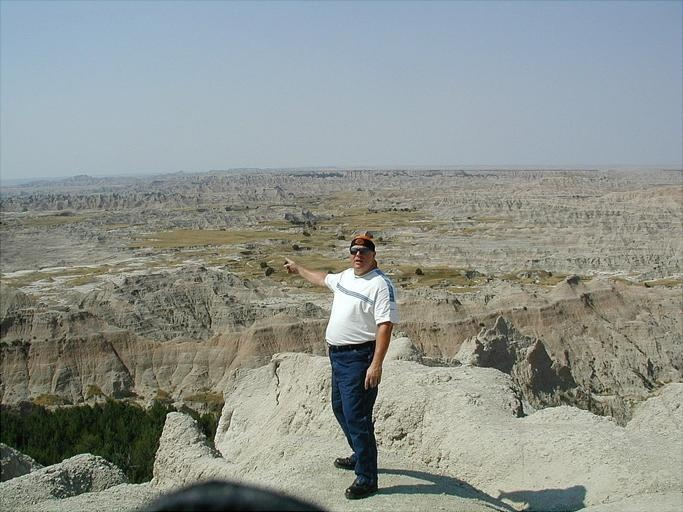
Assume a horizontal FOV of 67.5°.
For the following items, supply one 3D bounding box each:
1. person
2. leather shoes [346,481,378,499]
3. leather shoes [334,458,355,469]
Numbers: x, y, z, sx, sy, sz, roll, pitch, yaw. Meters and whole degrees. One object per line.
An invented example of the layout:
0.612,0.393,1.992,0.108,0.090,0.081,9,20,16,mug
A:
0.145,1.561,6.636,0.717,2.774,1.205,-6,9,-28,person
0.231,2.880,6.313,0.428,0.178,0.166,6,-11,-21,leather shoes
0.052,2.952,7.341,0.350,0.125,0.118,10,10,-1,leather shoes
